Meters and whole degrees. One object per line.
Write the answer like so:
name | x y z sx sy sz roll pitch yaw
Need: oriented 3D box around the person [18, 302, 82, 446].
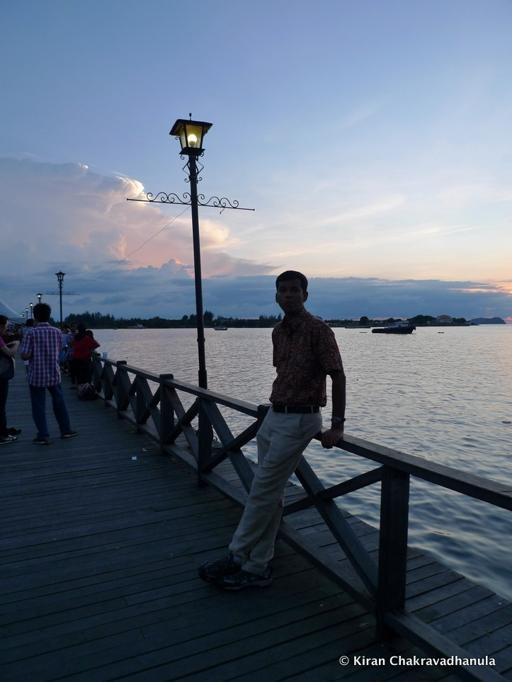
person | -2.603 0.432 6.881 0.562 1.804 1.196 -2 4 -15

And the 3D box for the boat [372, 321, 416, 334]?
boat | 27.286 -2.264 107.685 2.926 2.616 10.269 -8 4 -14

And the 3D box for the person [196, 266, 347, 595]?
person | 0.147 0.538 3.168 0.902 1.865 0.338 1 4 32

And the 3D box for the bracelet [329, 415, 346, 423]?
bracelet | 0.433 0.403 2.872 0.056 0.020 0.046 0 -30 0

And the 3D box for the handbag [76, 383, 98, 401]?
handbag | -3.451 0.987 11.264 0.383 0.338 0.384 -3 17 -31

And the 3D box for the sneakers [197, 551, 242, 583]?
sneakers | -0.208 1.353 3.369 0.352 0.149 0.120 -7 1 -6
